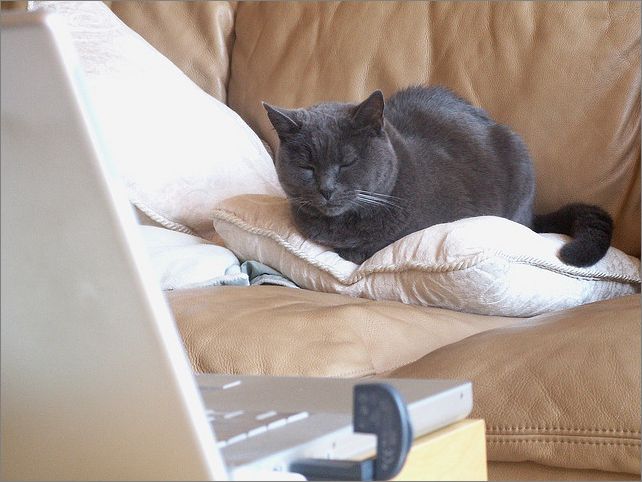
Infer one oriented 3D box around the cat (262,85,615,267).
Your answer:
[{"bbox_3d":[0.199,-0.146,1.532,0.580,0.310,0.435,-4,-2,-42],"label":"cat"}]
